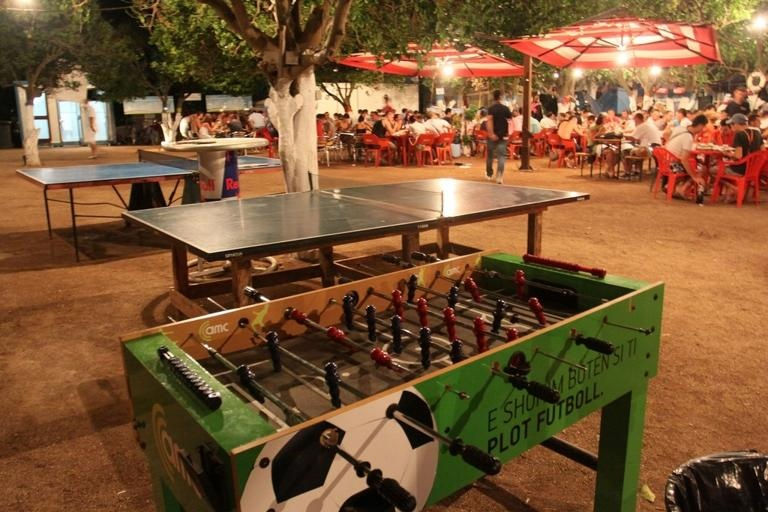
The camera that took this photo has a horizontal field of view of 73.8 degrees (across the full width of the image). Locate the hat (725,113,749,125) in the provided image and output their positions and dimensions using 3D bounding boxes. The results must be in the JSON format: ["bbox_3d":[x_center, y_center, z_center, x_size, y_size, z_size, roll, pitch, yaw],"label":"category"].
[{"bbox_3d":[7.072,-2.708,10.224,0.269,0.224,0.591,8,15,32],"label":"hat"}]

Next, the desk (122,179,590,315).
[{"bbox_3d":[-0.302,-0.269,5.219,4.073,0.798,2.309,-7,14,-28],"label":"desk"}]

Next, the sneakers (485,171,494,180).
[{"bbox_3d":[2.683,-2.021,13.050,0.257,0.265,0.665,-1,7,5],"label":"sneakers"}]
